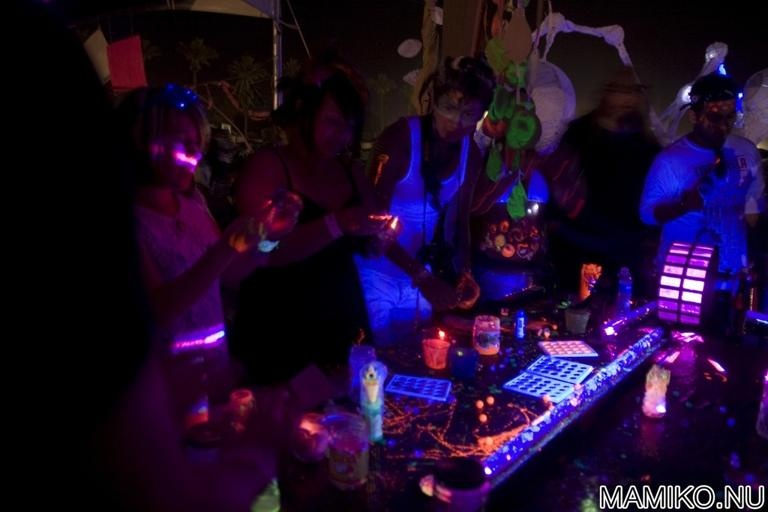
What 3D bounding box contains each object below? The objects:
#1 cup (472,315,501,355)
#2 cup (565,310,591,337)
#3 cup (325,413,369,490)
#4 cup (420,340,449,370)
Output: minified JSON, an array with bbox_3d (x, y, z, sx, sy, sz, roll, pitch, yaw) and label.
[{"bbox_3d":[0.531,0.424,3.238,0.167,0.191,0.177,-1,7,0],"label":"cup"},{"bbox_3d":[1.130,0.394,3.494,0.124,0.114,0.145,1,4,7],"label":"cup"},{"bbox_3d":[-0.141,0.794,2.413,0.155,0.284,0.161,0,-4,0],"label":"cup"},{"bbox_3d":[0.259,0.500,3.034,0.123,0.109,0.141,-3,11,-43],"label":"cup"}]
